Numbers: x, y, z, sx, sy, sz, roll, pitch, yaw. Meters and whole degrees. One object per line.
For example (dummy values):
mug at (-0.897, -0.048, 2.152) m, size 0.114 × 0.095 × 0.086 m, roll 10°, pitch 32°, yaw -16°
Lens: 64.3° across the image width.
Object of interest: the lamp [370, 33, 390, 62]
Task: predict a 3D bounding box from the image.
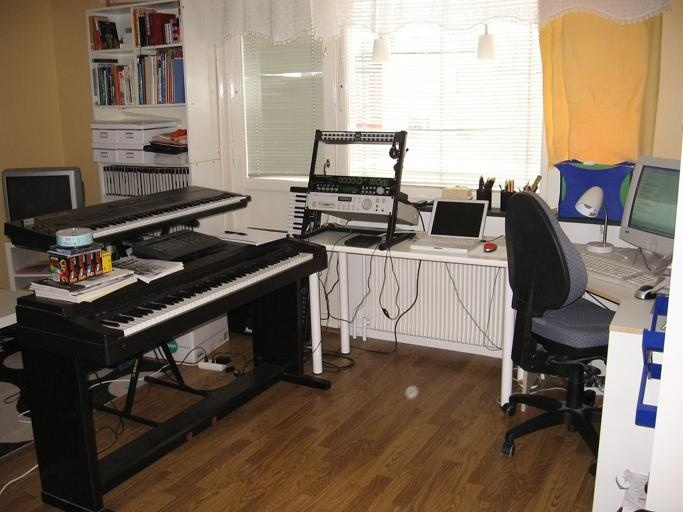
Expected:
lamp at (0.259, -1.374, 3.603) m, size 0.100 × 0.148 × 0.075 m, roll -1°, pitch 16°, yaw -3°

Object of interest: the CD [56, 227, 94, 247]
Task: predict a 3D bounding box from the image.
CD at (-1.150, -0.099, 2.340) m, size 0.103 × 0.060 × 0.102 m, roll -8°, pitch 15°, yaw -39°

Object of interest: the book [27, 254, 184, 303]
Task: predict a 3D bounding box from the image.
book at (-1.063, 0.094, 2.518) m, size 0.282 × 0.099 × 0.620 m, roll 10°, pitch 18°, yaw 33°

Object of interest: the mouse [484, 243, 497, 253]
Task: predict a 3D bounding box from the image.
mouse at (0.881, -0.051, 3.227) m, size 0.075 × 0.041 × 0.092 m, roll 4°, pitch 16°, yaw 15°

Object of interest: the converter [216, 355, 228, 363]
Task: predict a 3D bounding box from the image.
converter at (-0.816, 0.709, 3.738) m, size 0.044 × 0.024 × 0.054 m, roll 3°, pitch 7°, yaw 11°

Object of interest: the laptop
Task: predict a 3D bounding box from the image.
laptop at (0.707, -0.196, 3.370) m, size 0.377 × 0.248 × 0.399 m, roll 7°, pitch 19°, yaw 30°

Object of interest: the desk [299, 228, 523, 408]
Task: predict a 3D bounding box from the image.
desk at (0.486, 0.410, 3.575) m, size 1.096 × 0.668 × 0.394 m, roll 4°, pitch 9°, yaw 27°
